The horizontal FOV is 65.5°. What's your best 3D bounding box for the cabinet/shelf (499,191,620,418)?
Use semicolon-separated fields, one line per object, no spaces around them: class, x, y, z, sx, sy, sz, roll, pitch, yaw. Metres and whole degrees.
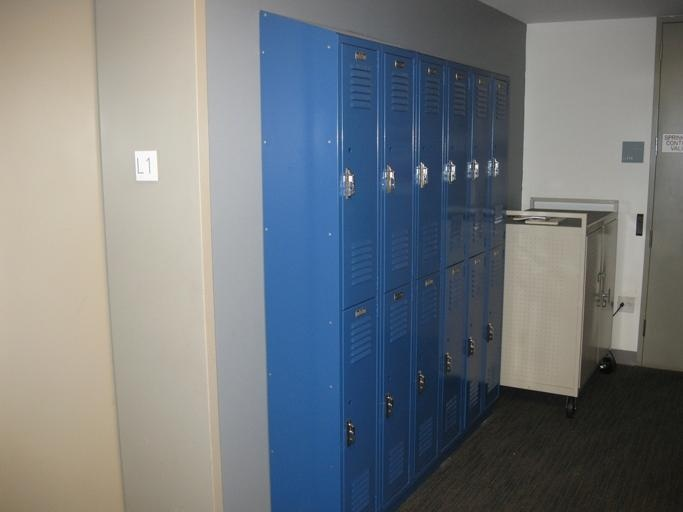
cabinet/shelf;2.157;0.332;5.087;0.664;1.818;1.834;4;10;32
